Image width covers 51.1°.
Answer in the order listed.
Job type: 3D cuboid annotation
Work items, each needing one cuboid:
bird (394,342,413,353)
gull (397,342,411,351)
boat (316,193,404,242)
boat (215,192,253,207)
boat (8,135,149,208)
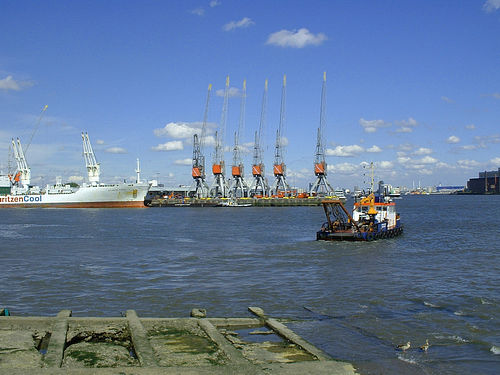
[{"bbox_3d":[5.693,5.985,19.625,0.607,0.345,0.220,1,1,-24],"label":"bird"},{"bbox_3d":[5.770,5.979,19.705,0.356,0.113,0.730,1,0,40],"label":"gull"},{"bbox_3d":[11.024,3.063,51.255,4.197,4.185,12.448,1,2,36],"label":"boat"},{"bbox_3d":[-4.347,3.388,151.048,10.464,3.915,11.624,1,0,1],"label":"boat"},{"bbox_3d":[-47.939,-3.469,140.502,49.668,17.998,8.618,-1,-2,25],"label":"boat"}]
